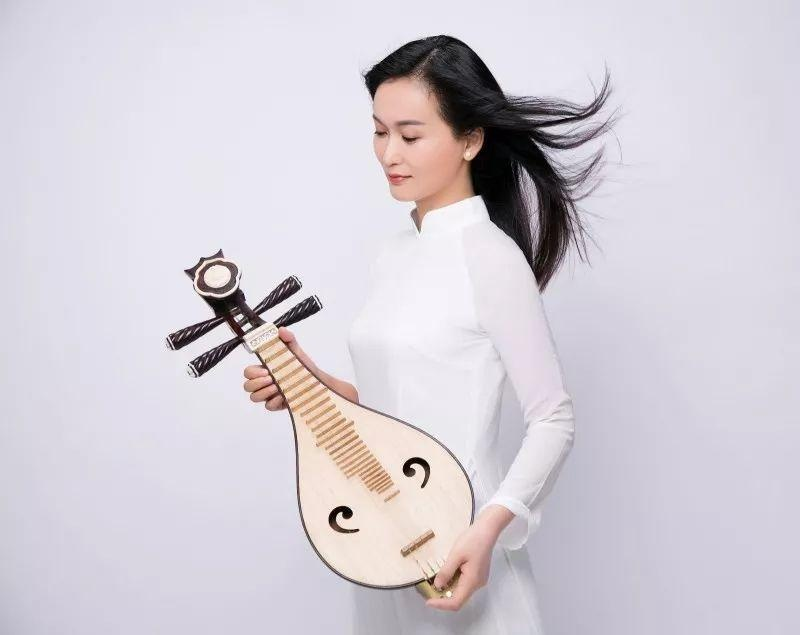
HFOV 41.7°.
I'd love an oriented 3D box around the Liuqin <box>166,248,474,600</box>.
[{"bbox_3d":[-0.255,0.222,2.794,0.496,1.267,0.154,-33,-12,-9],"label":"Liuqin"}]
